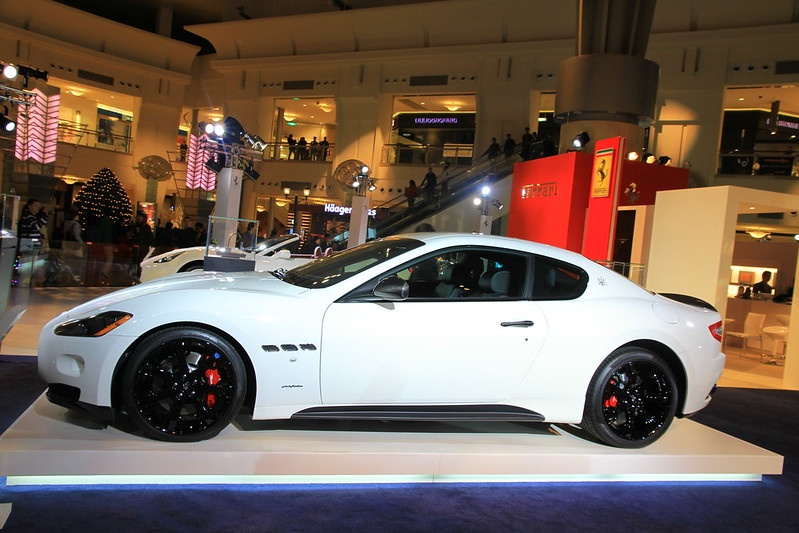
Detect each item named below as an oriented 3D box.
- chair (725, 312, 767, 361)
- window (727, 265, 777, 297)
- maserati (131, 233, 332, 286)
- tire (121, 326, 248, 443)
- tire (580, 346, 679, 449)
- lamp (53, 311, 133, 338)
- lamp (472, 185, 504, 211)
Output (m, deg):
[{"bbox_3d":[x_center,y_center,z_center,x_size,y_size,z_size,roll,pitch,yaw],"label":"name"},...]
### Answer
[{"bbox_3d":[8.807,1.744,13.223,0.751,1.075,0.663,6,-3,27],"label":"chair"},{"bbox_3d":[10.051,0.421,14.660,0.100,0.669,0.976,16,-5,-18],"label":"window"},{"bbox_3d":[-3.499,-0.073,10.847,3.643,1.166,1.657,2,1,-20],"label":"maserati"},{"bbox_3d":[-1.630,0.922,4.081,0.962,0.921,0.346,1,-3,4],"label":"tire"},{"bbox_3d":[2.015,1.168,4.642,0.879,0.834,0.353,4,-2,-12],"label":"tire"},{"bbox_3d":[-2.326,0.440,3.914,0.625,0.179,0.113,-1,8,9],"label":"lamp"},{"bbox_3d":[3.060,-2.331,17.730,0.634,1.034,1.743,6,-3,1],"label":"lamp"}]
